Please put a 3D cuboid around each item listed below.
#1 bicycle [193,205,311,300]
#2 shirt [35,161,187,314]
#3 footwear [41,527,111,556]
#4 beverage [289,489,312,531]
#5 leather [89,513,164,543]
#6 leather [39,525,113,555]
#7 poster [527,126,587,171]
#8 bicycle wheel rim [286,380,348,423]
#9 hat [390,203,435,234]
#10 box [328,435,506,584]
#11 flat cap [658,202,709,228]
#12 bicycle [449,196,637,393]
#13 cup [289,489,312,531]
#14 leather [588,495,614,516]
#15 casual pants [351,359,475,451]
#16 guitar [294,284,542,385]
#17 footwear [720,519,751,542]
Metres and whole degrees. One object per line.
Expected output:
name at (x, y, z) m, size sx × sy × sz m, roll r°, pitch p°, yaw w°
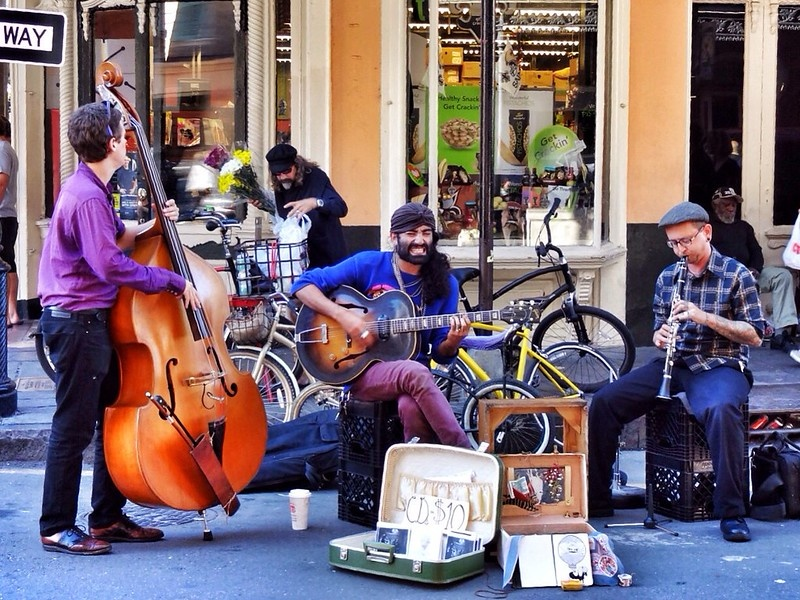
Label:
bicycle at (-1.139, -0.394, 8.485) m, size 0.896 × 0.675 × 0.641 m, roll -5°, pitch 5°, yaw 5°
shirt at (-1.767, -0.304, 5.947) m, size 0.857 × 0.994 × 0.732 m, roll -5°, pitch 43°, yaw -27°
footwear at (-1.851, 1.382, 5.848) m, size 0.374 × 0.172 × 0.160 m, roll 1°, pitch 0°, yaw 6°
beverage at (-0.619, 1.277, 6.332) m, size 0.114 × 0.251 × 0.235 m, roll -1°, pitch 4°, yaw -6°
leather at (-1.626, 1.326, 6.084) m, size 0.397 × 0.179 × 0.162 m, roll -1°, pitch -1°, yaw -9°
leather at (-1.855, 1.350, 5.870) m, size 0.371 × 0.169 × 0.160 m, roll 1°, pitch 0°, yaw 6°
poster at (1.594, -1.532, 10.384) m, size 0.528 × 0.466 × 0.425 m, roll -9°, pitch 17°, yaw 8°
bicycle wheel rim at (-0.649, 0.732, 8.008) m, size 0.433 × 0.107 × 0.432 m, roll -9°, pitch 30°, yaw -11°
hat at (0.083, -0.514, 6.351) m, size 0.210 × 0.138 × 0.206 m, roll -1°, pitch 4°, yaw -27°
box at (0.133, 1.193, 5.719) m, size 0.801 × 0.709 × 0.793 m, roll 2°, pitch 0°, yaw 35°
flat cap at (1.774, -0.537, 6.382) m, size 0.221 × 0.105 × 0.199 m, roll -4°, pitch 6°, yaw 18°
bicycle at (1.027, 0.134, 9.033) m, size 1.958 × 1.279 × 1.160 m, roll -9°, pitch 9°, yaw 1°
cup at (-0.618, 1.277, 6.328) m, size 0.114 × 0.251 × 0.227 m, roll -1°, pitch 4°, yaw -6°
leather at (1.291, 1.314, 6.586) m, size 0.158 × 0.159 × 0.107 m, roll 1°, pitch 1°, yaw -3°
casual pants at (0.073, 0.606, 6.131) m, size 0.275 × 0.648 × 0.391 m, roll -7°, pitch -3°, yaw -30°
guitar at (-0.014, 0.234, 6.403) m, size 1.304 × 0.638 × 0.277 m, roll 0°, pitch 4°, yaw 10°
footwear at (2.019, 1.374, 6.140) m, size 0.175 × 0.121 × 0.114 m, roll 1°, pitch 4°, yaw 17°
